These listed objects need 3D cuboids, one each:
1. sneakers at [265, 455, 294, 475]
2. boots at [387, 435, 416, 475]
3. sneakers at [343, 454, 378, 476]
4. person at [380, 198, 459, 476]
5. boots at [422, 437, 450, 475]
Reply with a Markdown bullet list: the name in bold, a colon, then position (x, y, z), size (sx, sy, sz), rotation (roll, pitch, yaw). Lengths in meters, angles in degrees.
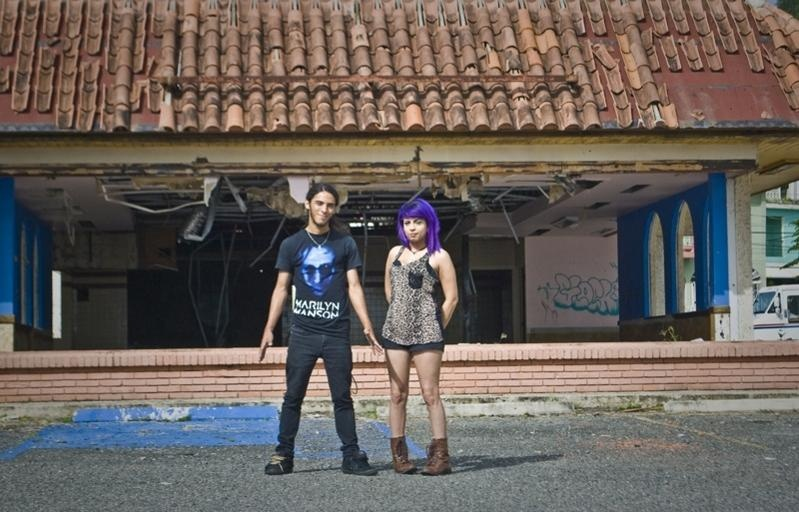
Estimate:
- **sneakers**: position (-1.592, 2.748, 13.929), size (0.373, 0.157, 0.198), rotation (5, -6, -16)
- **boots**: position (0.029, 2.616, 13.986), size (0.226, 0.416, 0.632), rotation (-2, 7, -22)
- **sneakers**: position (-0.458, 2.744, 13.845), size (0.553, 0.251, 0.198), rotation (-4, -7, 38)
- **person**: position (0.256, 1.068, 14.052), size (0.960, 3.545, 1.095), rotation (0, 11, 1)
- **boots**: position (0.463, 2.629, 13.901), size (0.259, 0.474, 0.638), rotation (-5, -4, 31)
